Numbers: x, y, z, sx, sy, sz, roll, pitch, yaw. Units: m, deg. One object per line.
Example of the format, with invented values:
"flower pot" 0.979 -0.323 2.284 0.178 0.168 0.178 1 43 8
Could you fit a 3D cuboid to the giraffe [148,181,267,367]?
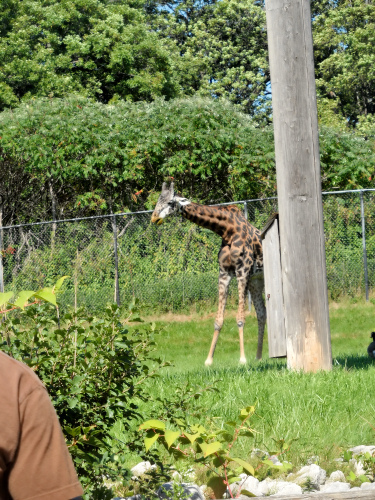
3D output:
"giraffe" 0.245 0.183 7.387 0.945 1.731 2.095 -2 -2 5
